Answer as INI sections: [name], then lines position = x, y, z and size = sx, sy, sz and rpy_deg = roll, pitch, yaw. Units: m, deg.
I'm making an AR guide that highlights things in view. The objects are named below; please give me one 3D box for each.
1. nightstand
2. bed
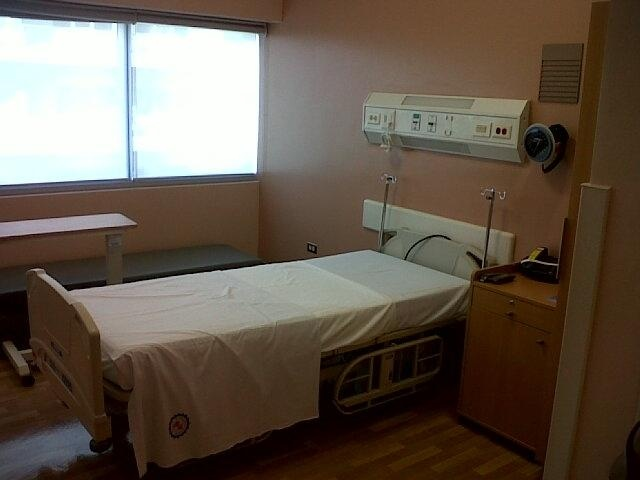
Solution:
[nightstand]
position = 1.356, 0.767, 3.219
size = 0.637, 1.109, 0.704
rpy_deg = 2, 10, -25
[bed]
position = -0.289, 0.506, 3.176
size = 2.405, 0.861, 1.338
rpy_deg = -9, 16, -32
